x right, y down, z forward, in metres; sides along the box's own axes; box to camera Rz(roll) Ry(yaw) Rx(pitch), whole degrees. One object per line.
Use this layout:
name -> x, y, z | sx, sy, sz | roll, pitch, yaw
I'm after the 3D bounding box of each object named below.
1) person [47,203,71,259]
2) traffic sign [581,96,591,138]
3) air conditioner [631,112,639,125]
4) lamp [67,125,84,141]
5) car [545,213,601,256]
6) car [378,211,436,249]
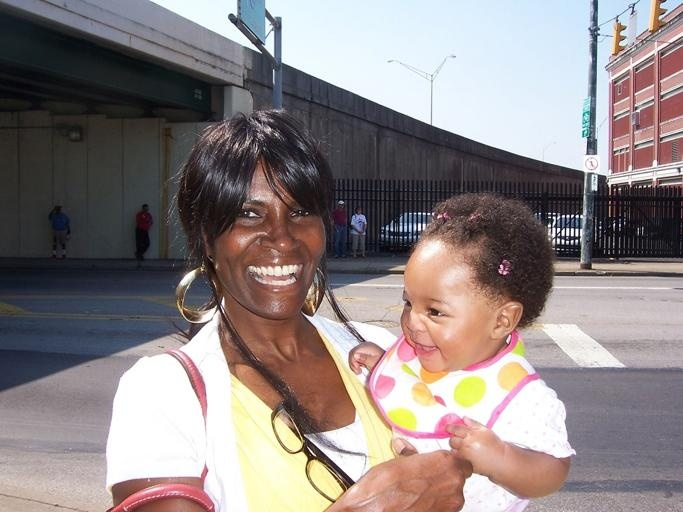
person -> -10.580, -0.941, 22.210 | 0.687, 1.962, 1.486 | -3, 8, -25
traffic sign -> 7.438, -4.256, 18.011 | 0.214, 1.267, 0.642 | 3, 8, 19
air conditioner -> 23.988, -11.383, 48.364 | 0.475, 1.120, 0.629 | 3, 8, 15
lamp -> -9.977, -4.635, 22.088 | 0.538, 0.583, 0.287 | 3, 8, 20
car -> 7.725, -0.759, 19.591 | 1.396, 1.297, 2.492 | -2, -5, 17
car -> 2.835, -0.983, 25.028 | 2.759, 1.059, 1.268 | -13, 24, -10
